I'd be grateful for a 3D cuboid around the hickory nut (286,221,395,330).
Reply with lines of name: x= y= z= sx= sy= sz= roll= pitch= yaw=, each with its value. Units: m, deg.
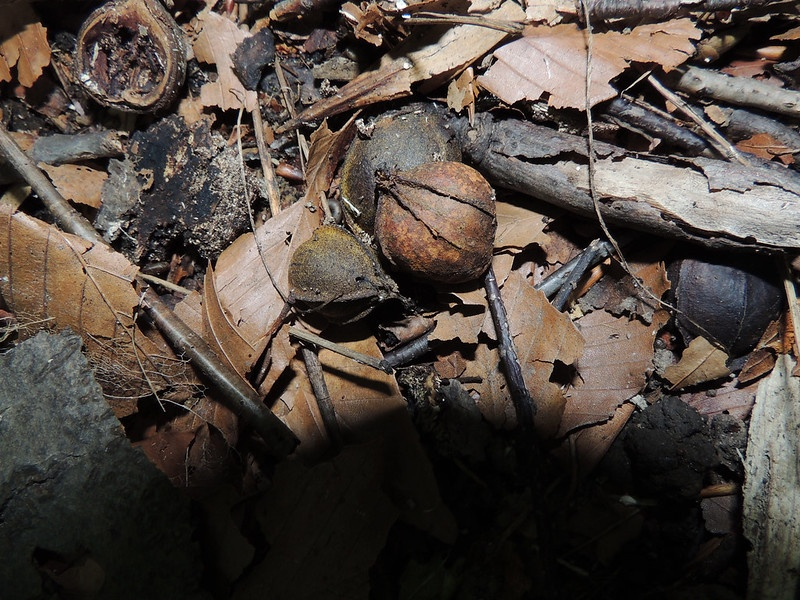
hickory nut: x=-0.327 y=-0.057 z=4.105 sx=0.626 sy=0.382 sz=0.585 roll=1 pitch=30 yaw=15
